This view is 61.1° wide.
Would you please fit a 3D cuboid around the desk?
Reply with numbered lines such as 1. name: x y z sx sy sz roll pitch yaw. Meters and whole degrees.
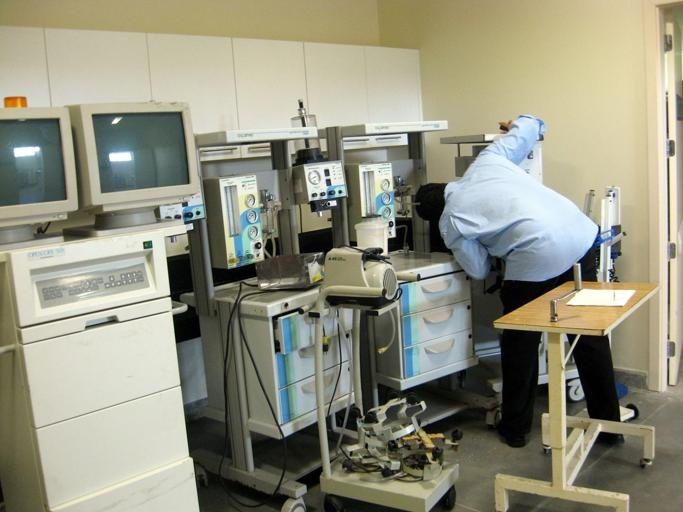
1. desk: 1.217 0.714 3.049 0.651 1.114 0.901 3 13 39

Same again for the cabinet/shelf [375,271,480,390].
1. cabinet/shelf: 0.542 0.430 3.744 0.743 0.678 0.298 -8 5 -39

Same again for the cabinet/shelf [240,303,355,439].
1. cabinet/shelf: -0.255 0.600 3.100 0.338 0.718 0.716 0 7 37

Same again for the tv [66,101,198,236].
1. tv: -1.043 -0.443 2.851 0.563 0.570 0.418 -12 16 -39

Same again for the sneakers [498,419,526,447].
1. sneakers: 1.045 1.101 3.605 0.079 0.096 0.218 -10 7 -19

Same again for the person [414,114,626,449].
1. person: 1.198 0.117 3.832 1.256 1.889 1.103 9 19 43
